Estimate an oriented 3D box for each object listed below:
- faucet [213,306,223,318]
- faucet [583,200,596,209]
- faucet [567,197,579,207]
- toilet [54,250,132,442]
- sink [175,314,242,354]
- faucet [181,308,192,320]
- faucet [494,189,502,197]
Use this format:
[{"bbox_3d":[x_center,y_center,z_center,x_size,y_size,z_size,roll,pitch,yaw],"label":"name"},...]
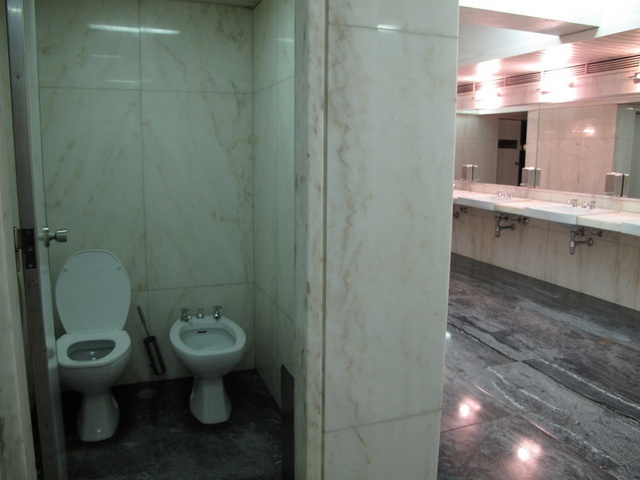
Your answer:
[{"bbox_3d":[-0.743,0.515,3.739,0.066,0.125,0.079,2,5,-4],"label":"faucet"},{"bbox_3d":[2.937,-0.379,5.626,0.119,0.074,0.049,1,6,29],"label":"faucet"},{"bbox_3d":[2.832,-0.419,5.778,0.055,0.095,0.101,2,10,10],"label":"faucet"},{"bbox_3d":[-1.422,0.635,3.275,0.465,1.032,0.611,-6,15,-22],"label":"toilet"},{"bbox_3d":[-0.749,0.656,3.507,0.535,0.133,0.480,0,14,2],"label":"sink"},{"bbox_3d":[-0.959,0.520,3.661,0.059,0.089,0.077,-3,7,-36],"label":"faucet"},{"bbox_3d":[2.416,-0.645,7.027,0.111,0.065,0.165,0,0,13],"label":"faucet"}]
